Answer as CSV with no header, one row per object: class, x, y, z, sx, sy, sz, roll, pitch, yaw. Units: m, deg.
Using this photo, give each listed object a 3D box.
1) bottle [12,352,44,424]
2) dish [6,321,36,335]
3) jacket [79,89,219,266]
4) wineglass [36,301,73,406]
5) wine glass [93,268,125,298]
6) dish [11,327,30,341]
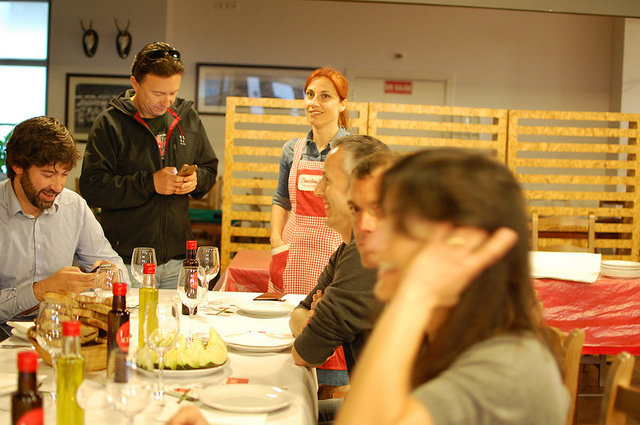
bottle,-0.902,0.554,1.704,0.097,0.251,0.075,4,-2,-20
dish,-1.331,0.504,2.479,0.092,0.028,0.093,6,0,28
jacket,-1.170,-0.198,3.906,1.014,1.213,0.645,-6,19,-44
wineglass,-0.978,0.532,2.061,0.158,0.381,0.144,3,-3,-21
wine glass,-0.961,0.322,2.538,0.143,0.139,0.144,3,-5,-2
dish,-1.318,0.530,2.425,0.058,0.021,0.058,27,-8,-12
